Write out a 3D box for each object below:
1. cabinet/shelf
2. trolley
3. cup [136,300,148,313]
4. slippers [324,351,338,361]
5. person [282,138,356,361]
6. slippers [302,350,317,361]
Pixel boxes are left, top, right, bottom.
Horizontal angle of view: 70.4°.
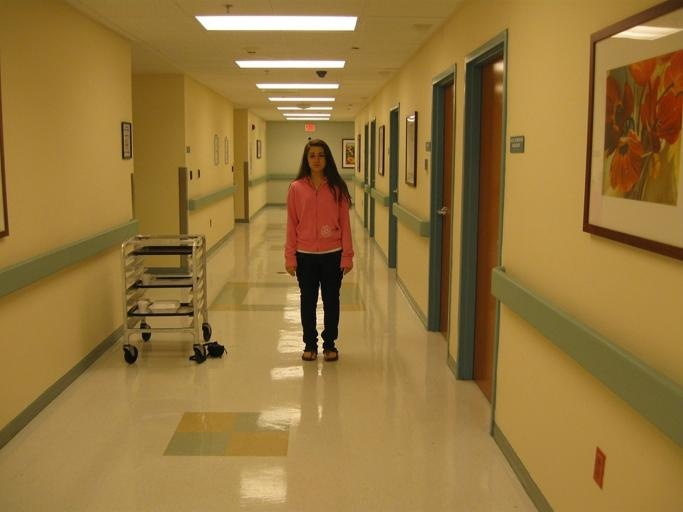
[{"bbox_3d":[-1.808,0.411,5.057,0.861,1.258,0.825,-3,4,-23],"label":"cabinet/shelf"},{"bbox_3d":[-1.815,0.449,4.980,0.720,1.199,0.802,-3,-6,-18],"label":"trolley"},{"bbox_3d":[-1.892,0.489,4.669,0.095,0.123,0.104,3,7,0],"label":"cup"},{"bbox_3d":[-0.092,0.932,4.488,0.113,0.130,0.075,-1,5,5],"label":"slippers"},{"bbox_3d":[-0.197,-0.028,4.420,0.585,2.014,0.304,0,10,1],"label":"person"},{"bbox_3d":[-0.288,0.934,4.518,0.081,0.059,0.157,0,-2,1],"label":"slippers"}]
